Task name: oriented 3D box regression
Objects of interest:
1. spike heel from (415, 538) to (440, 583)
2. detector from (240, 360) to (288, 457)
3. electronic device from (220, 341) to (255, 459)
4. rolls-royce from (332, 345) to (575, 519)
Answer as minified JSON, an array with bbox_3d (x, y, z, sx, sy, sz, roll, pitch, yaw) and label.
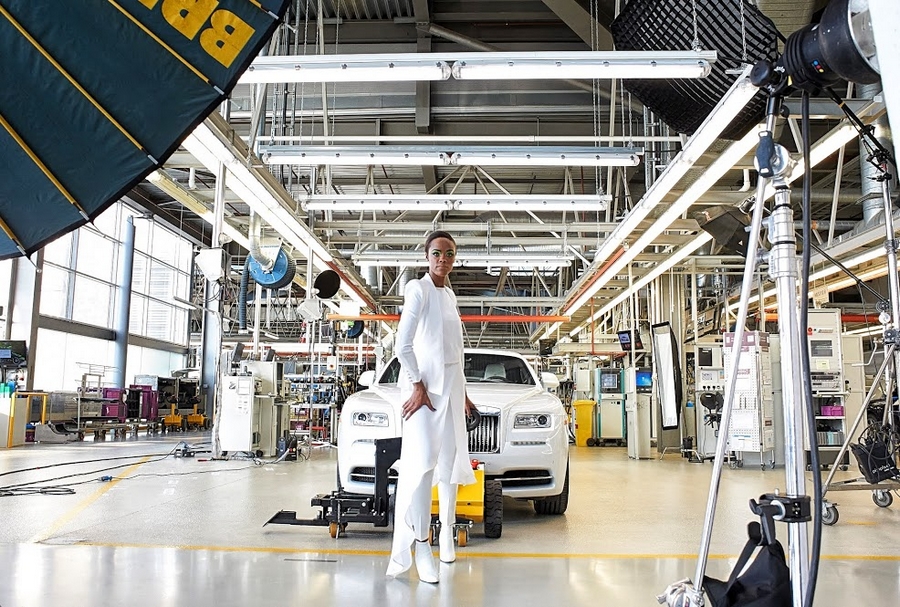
[{"bbox_3d":[-0.161,1.781,5.182,0.158,0.278,0.198,0,-12,-2],"label":"spike heel"},{"bbox_3d":[-3.073,1.765,12.668,0.651,1.686,0.791,4,-2,-7],"label":"detector"},{"bbox_3d":[-3.428,1.667,12.078,0.432,1.489,0.571,1,0,-6],"label":"electronic device"},{"bbox_3d":[0.012,1.168,6.574,1.857,1.444,3.226,-1,-15,3],"label":"rolls-royce"}]
